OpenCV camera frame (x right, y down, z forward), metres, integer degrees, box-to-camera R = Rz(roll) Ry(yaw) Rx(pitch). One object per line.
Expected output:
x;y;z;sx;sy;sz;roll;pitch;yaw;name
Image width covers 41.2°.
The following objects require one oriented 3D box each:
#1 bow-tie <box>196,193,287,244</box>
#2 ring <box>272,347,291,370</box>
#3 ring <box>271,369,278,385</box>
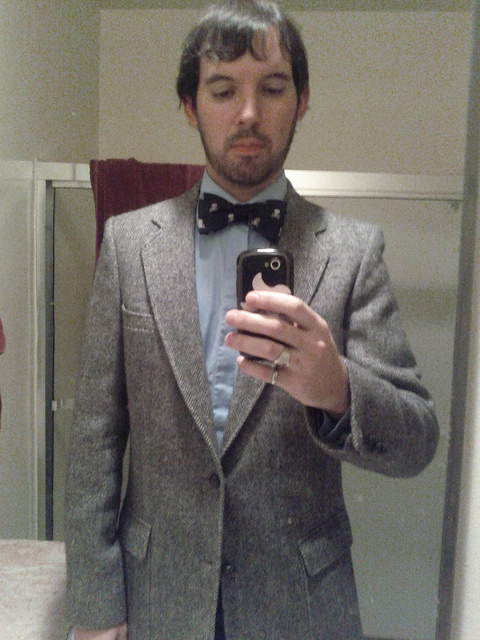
0.003;-0.171;1.070;0.142;0.069;0.045;1;16;5;bow-tie
0.056;0.045;0.837;0.018;0.026;0.026;10;32;30;ring
0.045;0.075;0.836;0.007;0.021;0.009;5;16;18;ring
